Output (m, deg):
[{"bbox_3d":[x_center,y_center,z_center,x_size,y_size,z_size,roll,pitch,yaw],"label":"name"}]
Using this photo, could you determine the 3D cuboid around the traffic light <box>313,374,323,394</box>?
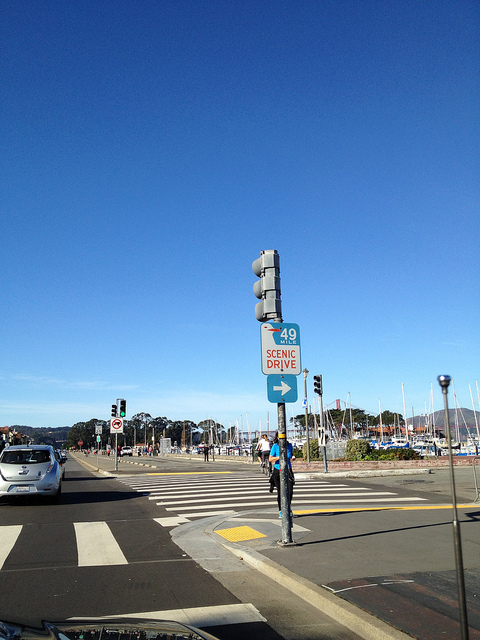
[{"bbox_3d":[3.709,3.103,23.241,0.363,0.816,0.268,-9,-13,36],"label":"traffic light"}]

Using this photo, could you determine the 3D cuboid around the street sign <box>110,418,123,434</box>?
[{"bbox_3d":[-7.193,6.142,28.542,0.462,0.871,1.096,8,-16,-41],"label":"street sign"}]

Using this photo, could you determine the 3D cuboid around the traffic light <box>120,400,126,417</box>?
[{"bbox_3d":[-6.739,5.094,28.064,0.268,0.952,0.565,1,-11,-11],"label":"traffic light"}]

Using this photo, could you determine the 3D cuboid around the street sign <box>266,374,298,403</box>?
[{"bbox_3d":[0.641,1.014,7.328,0.525,0.429,0.325,1,-12,-12],"label":"street sign"}]

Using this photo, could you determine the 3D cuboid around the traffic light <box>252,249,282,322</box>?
[{"bbox_3d":[0.435,-0.542,7.812,0.460,1.163,0.291,-5,-11,20],"label":"traffic light"}]

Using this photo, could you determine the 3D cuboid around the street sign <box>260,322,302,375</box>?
[{"bbox_3d":[0.639,0.422,7.525,0.623,0.832,0.283,-1,-10,-6],"label":"street sign"}]

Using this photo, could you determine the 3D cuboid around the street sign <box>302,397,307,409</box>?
[{"bbox_3d":[3.986,5.025,29.812,0.279,0.577,0.630,-3,-12,9],"label":"street sign"}]

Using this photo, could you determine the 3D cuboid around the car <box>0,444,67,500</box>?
[{"bbox_3d":[-5.800,4.204,14.077,1.064,1.034,1.969,1,-6,-8],"label":"car"}]
